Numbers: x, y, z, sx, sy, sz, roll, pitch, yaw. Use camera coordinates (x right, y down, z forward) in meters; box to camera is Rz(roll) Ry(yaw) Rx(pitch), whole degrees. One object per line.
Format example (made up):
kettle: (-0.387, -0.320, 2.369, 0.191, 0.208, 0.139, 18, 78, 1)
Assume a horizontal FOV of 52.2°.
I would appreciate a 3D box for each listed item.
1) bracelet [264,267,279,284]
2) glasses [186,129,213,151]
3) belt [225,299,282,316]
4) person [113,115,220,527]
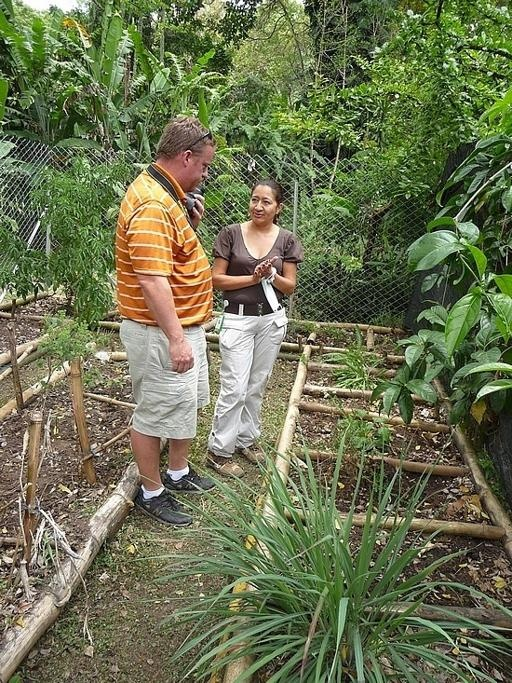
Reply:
bracelet: (0.092, -0.353, 2.828, 0.038, 0.079, 0.073, 21, -12, -31)
glasses: (-0.231, -0.835, 2.177, 0.098, 0.029, 0.094, -31, 18, 3)
belt: (-0.022, -0.190, 2.974, 0.326, 0.074, 0.084, 4, 20, 0)
person: (-0.398, -0.005, 2.341, 0.488, 1.877, 0.730, 3, 21, -4)
